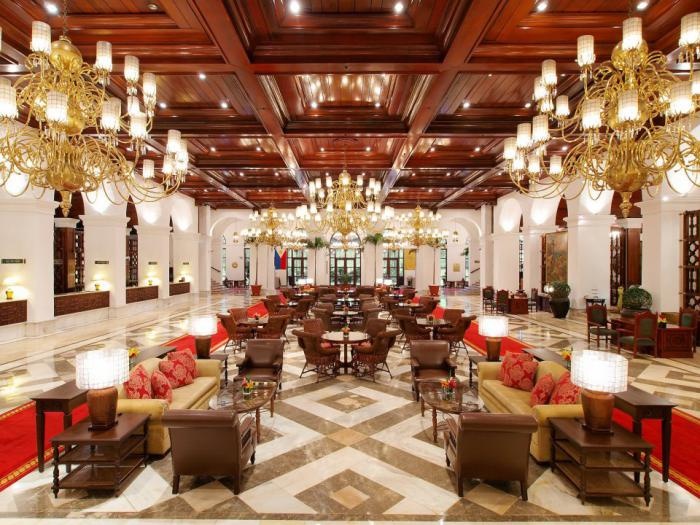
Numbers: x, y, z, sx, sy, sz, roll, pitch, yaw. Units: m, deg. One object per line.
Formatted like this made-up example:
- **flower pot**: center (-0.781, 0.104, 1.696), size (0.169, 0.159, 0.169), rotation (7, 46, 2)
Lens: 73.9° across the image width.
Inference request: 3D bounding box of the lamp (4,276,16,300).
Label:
- **lamp**: center (-8.305, 0.616, 11.393), size (0.376, 0.520, 0.211), rotation (-2, -1, 39)
